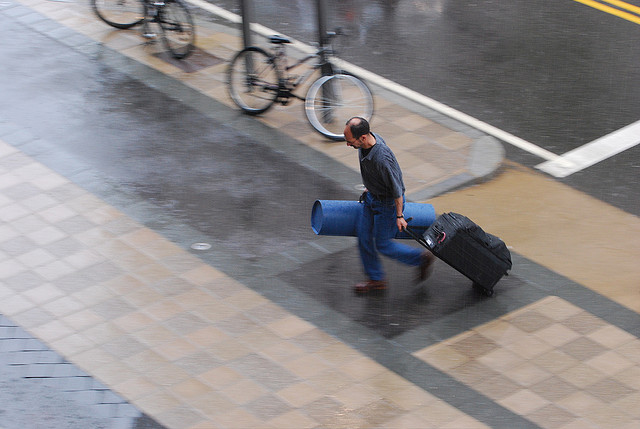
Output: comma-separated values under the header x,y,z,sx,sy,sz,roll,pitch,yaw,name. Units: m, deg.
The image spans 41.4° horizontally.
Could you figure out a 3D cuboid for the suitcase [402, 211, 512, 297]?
x,y,z,sx,sy,sz,roll,pitch,yaw,name
2.264,0.564,11.540,0.444,1.843,0.812,-68,17,4,suitcase
